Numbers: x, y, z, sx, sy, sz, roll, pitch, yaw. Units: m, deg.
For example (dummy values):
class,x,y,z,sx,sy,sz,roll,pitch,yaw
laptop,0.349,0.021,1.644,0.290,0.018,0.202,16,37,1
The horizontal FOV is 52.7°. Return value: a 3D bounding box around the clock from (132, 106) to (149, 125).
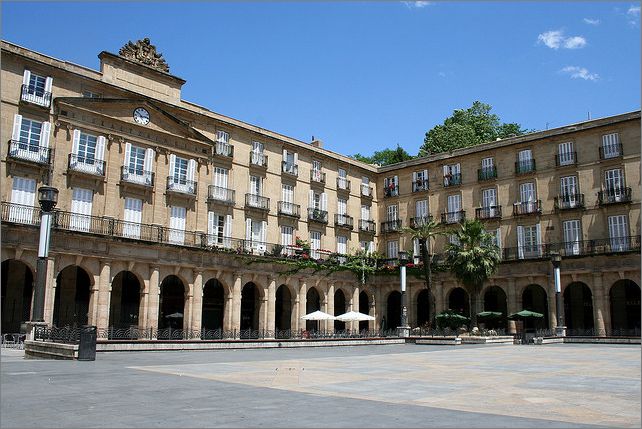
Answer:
class,x,y,z,sx,sy,sz,roll,pitch,yaw
clock,-14.221,-7.735,50.584,0.179,1.315,1.366,-13,7,35
